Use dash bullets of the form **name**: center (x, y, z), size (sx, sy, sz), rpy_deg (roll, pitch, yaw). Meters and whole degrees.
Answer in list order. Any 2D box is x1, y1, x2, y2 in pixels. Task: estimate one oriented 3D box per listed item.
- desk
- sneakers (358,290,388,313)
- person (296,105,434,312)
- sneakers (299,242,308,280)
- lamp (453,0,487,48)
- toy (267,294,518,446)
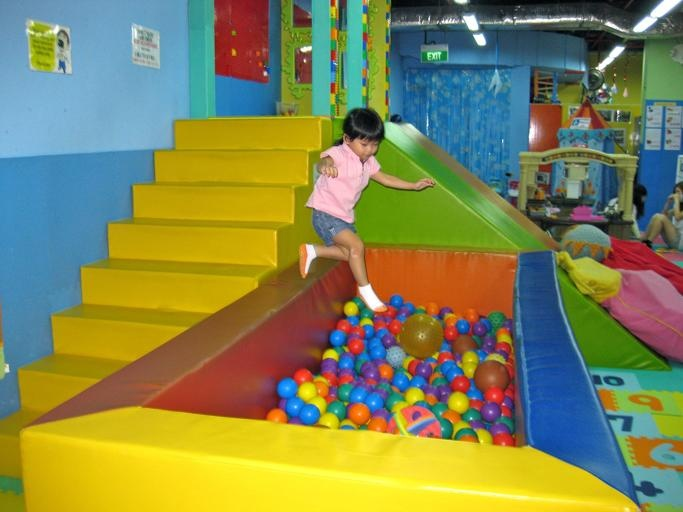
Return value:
- **desk**: center (2.998, -0.363, 7.186), size (1.184, 0.392, 1.038), rpy_deg (-2, 13, -13)
- **sneakers**: center (0.197, 0.297, 3.594), size (0.183, 0.062, 0.070), rpy_deg (48, 13, 33)
- **person**: center (0.085, -0.258, 3.476), size (0.535, 1.304, 0.984), rpy_deg (9, 15, 34)
- **sneakers**: center (-0.227, 0.029, 3.236), size (0.064, 0.167, 0.053), rpy_deg (-6, -5, 22)
- **lamp**: center (2.465, -4.605, 10.561), size (0.515, 0.941, 2.602), rpy_deg (4, 13, 14)
- **toy**: center (0.350, 0.577, 2.975), size (1.109, 0.354, 1.878), rpy_deg (5, 14, 17)
